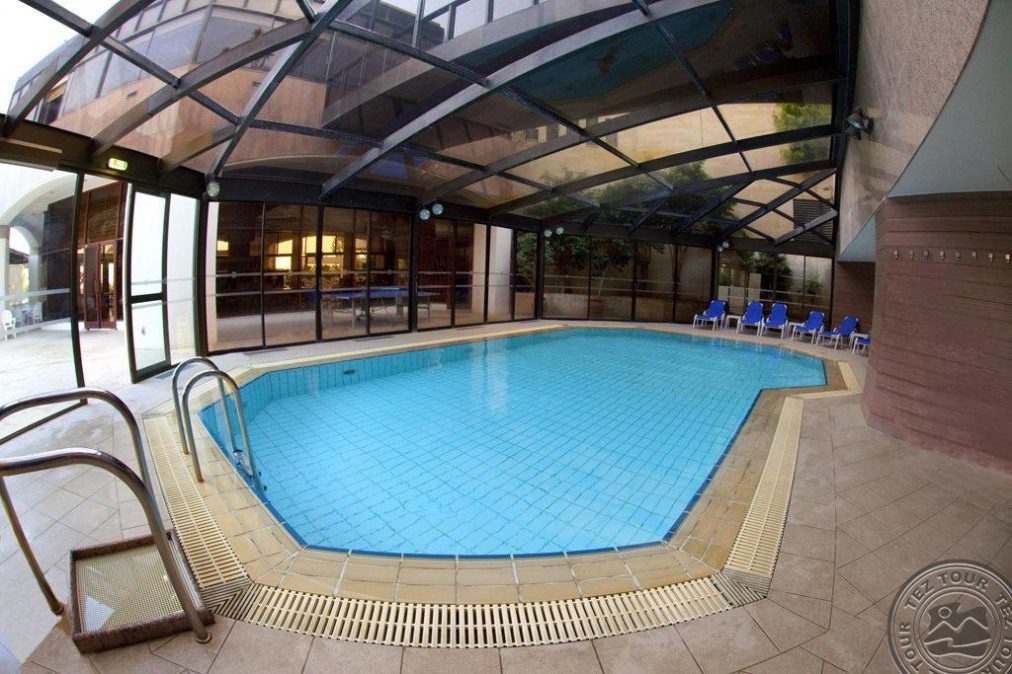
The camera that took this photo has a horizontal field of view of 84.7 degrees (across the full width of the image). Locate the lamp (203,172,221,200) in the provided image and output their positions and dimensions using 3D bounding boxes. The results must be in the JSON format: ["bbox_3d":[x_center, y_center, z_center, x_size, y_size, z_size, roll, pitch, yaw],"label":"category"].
[{"bbox_3d":[-5.182,-2.637,9.708,0.251,0.403,0.530,-4,8,-25],"label":"lamp"}]

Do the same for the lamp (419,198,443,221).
[{"bbox_3d":[-1.863,-3.113,13.430,0.412,0.458,0.937,16,3,-29],"label":"lamp"}]

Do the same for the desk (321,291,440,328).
[{"bbox_3d":[-3.171,-0.642,13.042,2.209,1.042,1.343,-2,7,-17],"label":"desk"}]

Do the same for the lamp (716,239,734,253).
[{"bbox_3d":[7.201,-2.992,18.189,0.364,0.173,0.391,-3,31,14],"label":"lamp"}]
